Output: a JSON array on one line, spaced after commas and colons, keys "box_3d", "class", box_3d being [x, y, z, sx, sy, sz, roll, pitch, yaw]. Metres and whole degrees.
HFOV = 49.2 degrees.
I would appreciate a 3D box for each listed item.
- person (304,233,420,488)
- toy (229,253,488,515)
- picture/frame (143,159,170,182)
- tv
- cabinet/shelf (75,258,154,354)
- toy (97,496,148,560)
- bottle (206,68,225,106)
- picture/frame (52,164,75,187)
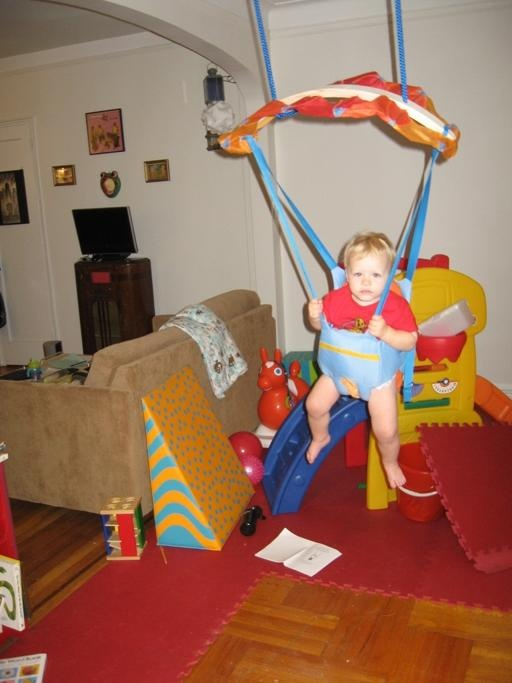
[{"box_3d": [0.357, 0.099, 1.968, 0.354, 0.948, 0.475, -13, 15, -36], "class": "person"}, {"box_3d": [0.448, 0.227, 2.406, 1.192, 1.032, 0.396, -13, 32, -26], "class": "toy"}, {"box_3d": [-0.802, -1.396, 4.534, 0.205, 0.164, 0.022, 5, 17, 25], "class": "picture/frame"}, {"box_3d": [-1.279, -0.917, 4.593, 0.051, 0.356, 0.530, 6, 15, 43], "class": "tv"}, {"box_3d": [-1.199, -0.182, 4.685, 0.566, 0.871, 0.323, -2, 8, 11], "class": "cabinet/shelf"}, {"box_3d": [-0.512, 0.717, 2.143, 0.141, 0.223, 0.133, -5, 12, -4], "class": "toy"}, {"box_3d": [-0.302, -1.814, 3.984, 0.145, 0.262, 0.288, -4, 12, -1], "class": "bottle"}, {"box_3d": [-1.681, -1.460, 4.881, 0.212, 0.165, 0.014, 3, 14, 15], "class": "picture/frame"}]
